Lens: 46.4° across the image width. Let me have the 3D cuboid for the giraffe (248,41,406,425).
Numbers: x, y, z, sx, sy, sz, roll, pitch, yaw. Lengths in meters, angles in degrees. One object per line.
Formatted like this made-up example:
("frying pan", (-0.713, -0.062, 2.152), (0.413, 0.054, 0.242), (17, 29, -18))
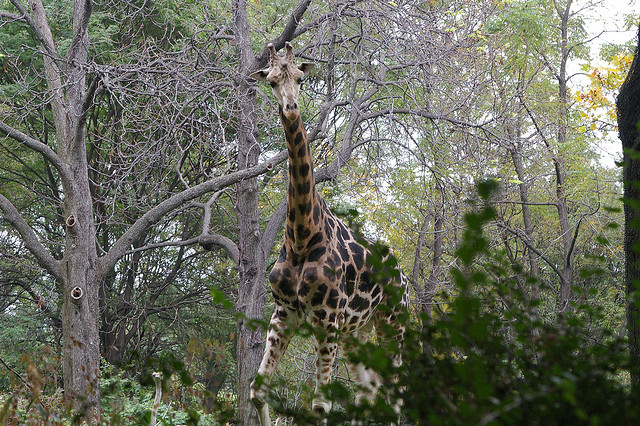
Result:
("giraffe", (0.034, 0.300, 13.324), (2.685, 6.776, 4.119), (-3, -19, 8))
